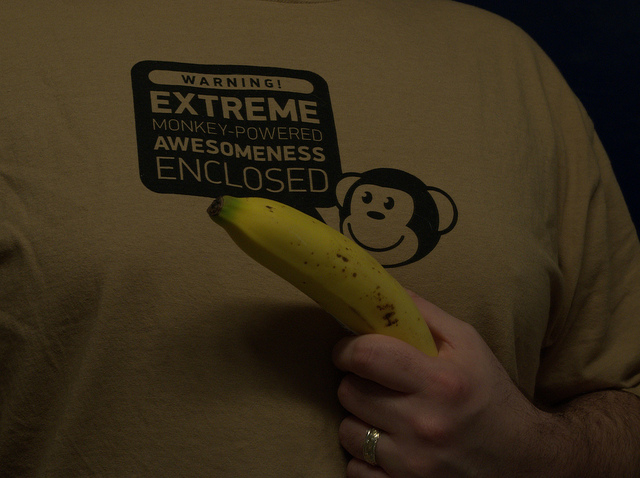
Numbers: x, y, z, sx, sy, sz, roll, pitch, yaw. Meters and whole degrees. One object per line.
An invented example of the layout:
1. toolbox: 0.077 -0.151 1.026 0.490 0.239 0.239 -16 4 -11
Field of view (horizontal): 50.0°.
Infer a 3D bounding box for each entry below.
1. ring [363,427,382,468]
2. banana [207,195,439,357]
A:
1. ring: 0.092 0.368 1.216 0.031 0.057 0.042 4 41 8
2. banana: -0.001 0.038 1.152 0.111 0.406 0.100 -56 28 -3
